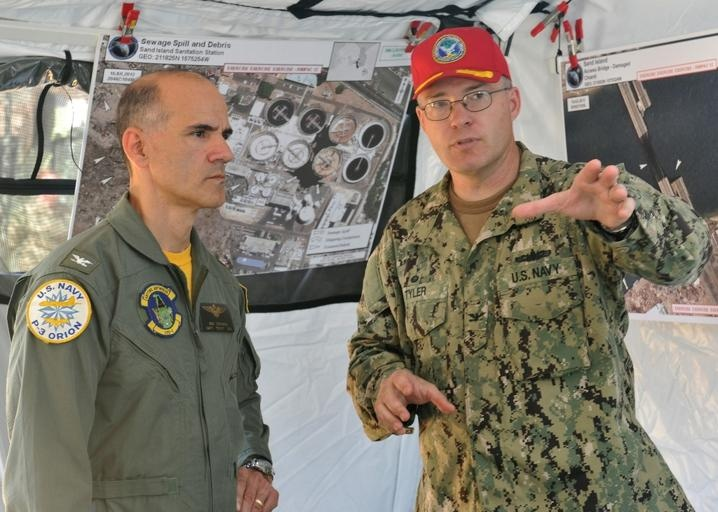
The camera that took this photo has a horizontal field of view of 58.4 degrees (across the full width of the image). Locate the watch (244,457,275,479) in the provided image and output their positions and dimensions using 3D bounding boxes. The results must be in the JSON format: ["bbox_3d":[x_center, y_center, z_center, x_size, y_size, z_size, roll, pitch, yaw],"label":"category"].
[{"bbox_3d":[-0.383,0.792,2.454,0.081,0.040,0.099,20,-8,-39],"label":"watch"}]

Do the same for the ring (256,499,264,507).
[{"bbox_3d":[-0.369,0.911,2.375,0.023,0.023,0.006,-8,23,37],"label":"ring"}]
